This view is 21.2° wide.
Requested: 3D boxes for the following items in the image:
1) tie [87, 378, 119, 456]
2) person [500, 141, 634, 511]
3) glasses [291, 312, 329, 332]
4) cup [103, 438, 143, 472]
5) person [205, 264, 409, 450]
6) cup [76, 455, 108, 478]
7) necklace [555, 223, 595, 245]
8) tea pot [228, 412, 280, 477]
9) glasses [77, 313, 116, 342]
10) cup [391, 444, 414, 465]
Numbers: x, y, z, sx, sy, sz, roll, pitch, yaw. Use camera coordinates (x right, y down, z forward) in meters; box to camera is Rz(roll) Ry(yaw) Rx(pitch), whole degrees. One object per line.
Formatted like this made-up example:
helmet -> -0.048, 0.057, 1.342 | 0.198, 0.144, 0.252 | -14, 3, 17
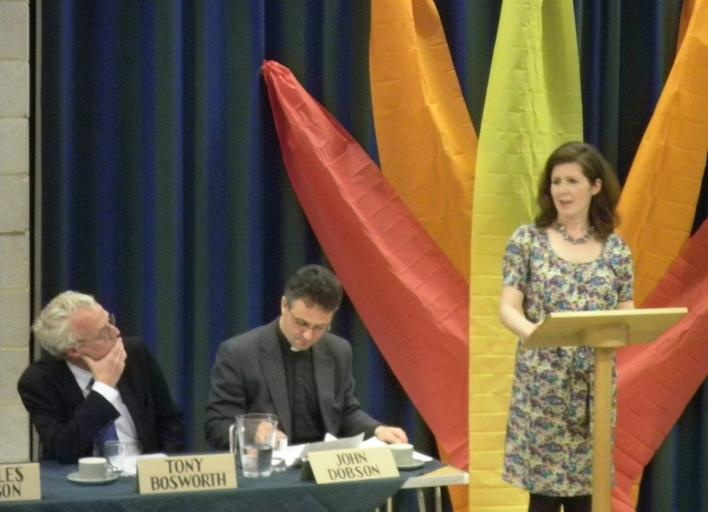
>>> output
tie -> -0.962, 0.635, 7.482 | 0.191, 0.272, 0.226 | 5, 6, -7
person -> 0.848, 0.266, 7.448 | 0.531, 1.462, 0.293 | -2, -6, 4
glasses -> -0.158, 0.268, 7.726 | 0.156, 0.066, 0.085 | 0, -7, -14
cup -> -0.874, 0.763, 7.280 | 0.115, 0.133, 0.133 | 0, -9, 4
person -> -0.214, 0.408, 7.950 | 0.618, 0.877, 0.490 | 5, -17, -29
cup -> -0.981, 0.787, 7.168 | 0.089, 0.064, 0.067 | 0, -3, 42
necklace -> 0.877, -0.092, 7.490 | 0.089, 0.094, 0.017 | -42, -15, -19
tea pot -> -0.365, 0.731, 7.249 | 0.227, 0.275, 0.197 | 3, -11, -15
glasses -> -1.016, 0.285, 7.650 | 0.113, 0.036, 0.112 | -14, 6, 13
cup -> 0.199, 0.761, 7.295 | 0.073, 0.051, 0.073 | -3, -3, 0
